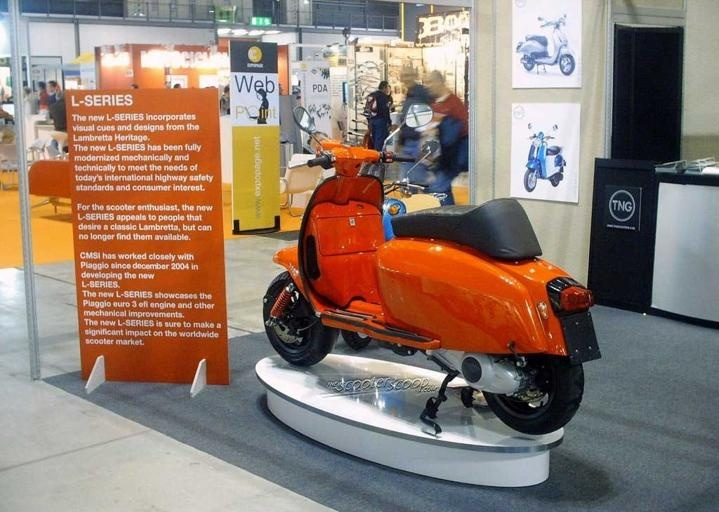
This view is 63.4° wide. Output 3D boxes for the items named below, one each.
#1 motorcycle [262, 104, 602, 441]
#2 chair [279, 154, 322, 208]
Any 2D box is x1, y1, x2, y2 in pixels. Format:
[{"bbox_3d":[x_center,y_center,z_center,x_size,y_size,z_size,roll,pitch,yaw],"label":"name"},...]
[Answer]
[{"bbox_3d":[0.246,0.016,3.222,1.002,1.636,1.932,-8,15,-28],"label":"motorcycle"},{"bbox_3d":[-1.067,-1.108,9.465,0.721,0.917,0.764,4,14,16],"label":"chair"}]
